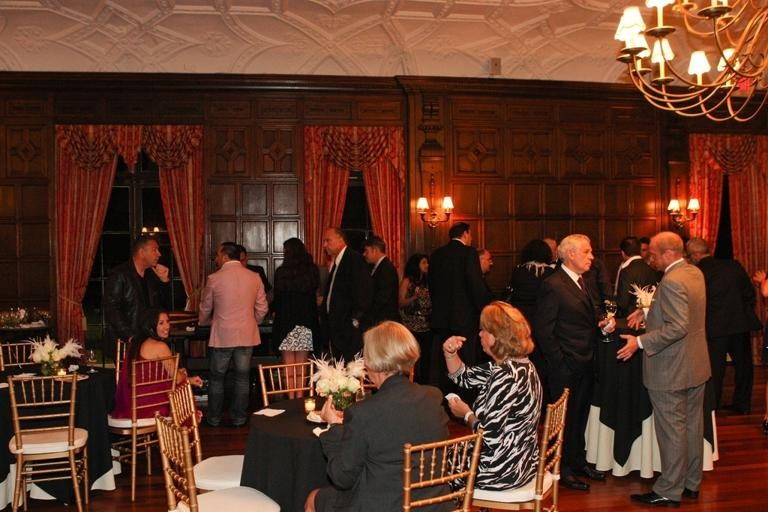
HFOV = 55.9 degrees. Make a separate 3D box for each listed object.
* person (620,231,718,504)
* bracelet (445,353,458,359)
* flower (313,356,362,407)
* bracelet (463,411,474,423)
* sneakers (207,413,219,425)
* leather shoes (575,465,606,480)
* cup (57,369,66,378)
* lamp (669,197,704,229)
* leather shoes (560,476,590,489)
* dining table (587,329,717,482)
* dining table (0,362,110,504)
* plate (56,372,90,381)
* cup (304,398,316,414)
[{"bbox_3d":[2.862,1.135,7.314,0.842,2.667,0.733,-10,16,-36],"label":"person"},{"bbox_3d":[0.609,0.899,6.560,0.065,0.070,0.069,0,-2,2],"label":"bracelet"},{"bbox_3d":[-0.409,1.181,6.702,0.461,0.474,0.469,1,13,20],"label":"flower"},{"bbox_3d":[0.751,1.414,6.366,0.083,0.076,0.095,-11,-14,8],"label":"bracelet"},{"bbox_3d":[-2.161,2.067,9.163,0.115,0.114,0.144,2,13,-2],"label":"sneakers"},{"bbox_3d":[2.220,2.309,7.824,0.343,0.140,0.129,-1,2,32],"label":"leather shoes"},{"bbox_3d":[-3.389,1.231,7.602,0.072,0.072,0.071,1,-1,0],"label":"cup"},{"bbox_3d":[4.922,-0.714,11.839,0.497,0.457,0.263,0,-6,-5],"label":"lamp"},{"bbox_3d":[2.004,2.387,7.645,0.313,0.126,0.114,-4,-2,35],"label":"leather shoes"},{"bbox_3d":[3.030,1.612,8.503,1.358,1.785,1.481,0,-1,8],"label":"dining table"},{"bbox_3d":[-3.339,1.852,7.839,1.225,1.203,1.214,0,-1,2],"label":"dining table"},{"bbox_3d":[-3.255,1.267,7.605,0.232,0.026,0.235,1,-1,-1],"label":"plate"},{"bbox_3d":[-0.699,1.411,6.817,0.107,0.118,0.108,1,-2,0],"label":"cup"}]
